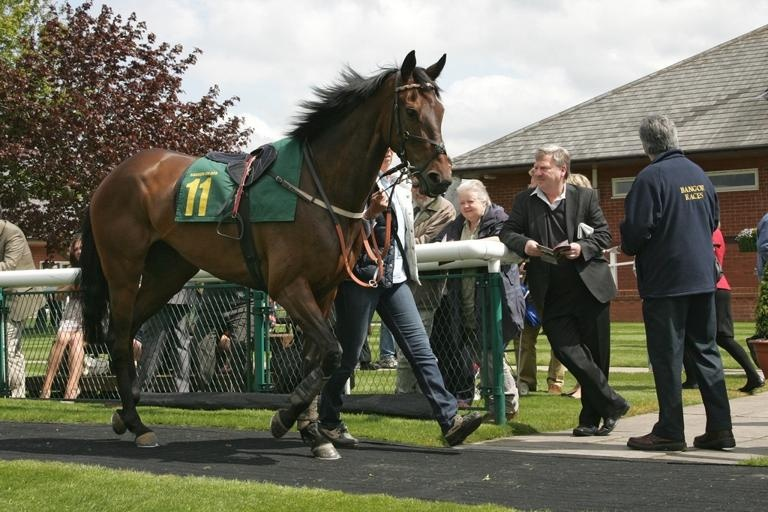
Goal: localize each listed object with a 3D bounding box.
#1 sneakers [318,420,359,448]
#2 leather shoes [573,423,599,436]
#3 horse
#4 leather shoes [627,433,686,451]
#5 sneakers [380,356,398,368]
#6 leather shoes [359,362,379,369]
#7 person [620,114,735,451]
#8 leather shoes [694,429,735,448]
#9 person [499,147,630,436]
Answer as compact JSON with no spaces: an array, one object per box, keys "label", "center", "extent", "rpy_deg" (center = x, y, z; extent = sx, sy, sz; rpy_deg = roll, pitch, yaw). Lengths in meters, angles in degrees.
[{"label":"sneakers","center":[-0.467,1.615,8.327],"extent":[0.447,0.187,0.154],"rpy_deg":[5,1,27]},{"label":"leather shoes","center":[1.891,1.645,8.640],"extent":[0.236,0.091,0.088],"rpy_deg":[5,-7,-18]},{"label":"horse","center":[-1.213,0.058,8.356],"extent":[3.942,3.484,0.972],"rpy_deg":[0,-2,25]},{"label":"leather shoes","center":[2.385,1.635,8.023],"extent":[0.443,0.170,0.180],"rpy_deg":[6,-8,7]},{"label":"sneakers","center":[0.056,1.324,11.352],"extent":[0.112,0.144,0.327],"rpy_deg":[-2,-7,-5]},{"label":"leather shoes","center":[-0.198,1.410,11.705],"extent":[0.103,0.128,0.329],"rpy_deg":[9,-7,-38]},{"label":"person","center":[2.596,0.210,8.465],"extent":[1.023,2.998,0.903],"rpy_deg":[1,-1,-17]},{"label":"leather shoes","center":[2.882,1.611,8.078],"extent":[0.364,0.176,0.149],"rpy_deg":[3,2,31]},{"label":"person","center":[1.712,0.313,8.690],"extent":[1.001,2.767,0.689],"rpy_deg":[-4,-9,13]}]
